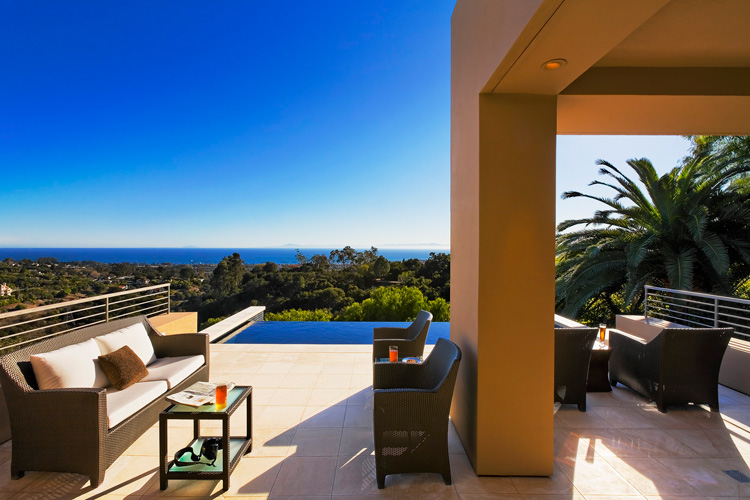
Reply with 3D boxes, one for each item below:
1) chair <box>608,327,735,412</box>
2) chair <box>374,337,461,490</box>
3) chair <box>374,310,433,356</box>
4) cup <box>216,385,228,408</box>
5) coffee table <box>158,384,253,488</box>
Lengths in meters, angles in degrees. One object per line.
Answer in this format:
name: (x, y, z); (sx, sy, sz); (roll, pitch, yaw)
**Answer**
chair: (4.317, 1.636, 6.570); (1.036, 1.157, 1.387); (0, 1, -6)
chair: (0.483, 1.855, 5.231); (1.023, 1.468, 0.756); (-2, 0, -2)
chair: (0.380, 1.242, 6.574); (0.757, 0.646, 0.671); (1, -9, -1)
cup: (-1.727, 1.625, 4.952); (0.123, 0.270, 0.076); (-3, 0, -26)
coffee table: (-1.946, 2.003, 5.303); (0.857, 1.002, 1.592); (1, -7, 0)
